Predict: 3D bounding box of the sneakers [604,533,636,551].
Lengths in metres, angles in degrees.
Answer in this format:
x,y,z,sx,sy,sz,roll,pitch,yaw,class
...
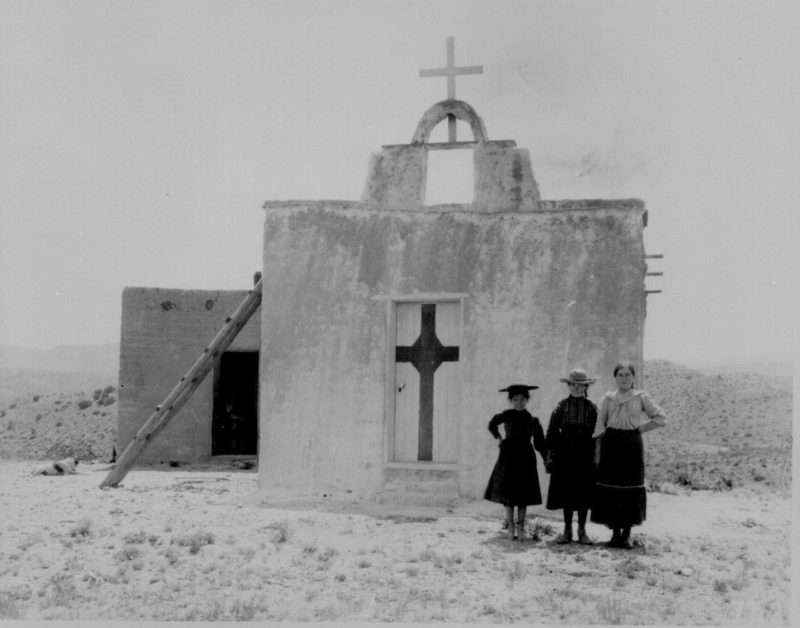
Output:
x,y,z,sx,sy,sz,roll,pitch,yaw,class
2.310,2.380,11.680,0.214,0.081,0.166,-4,-7,44,sneakers

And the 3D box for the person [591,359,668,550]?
x,y,z,sx,sy,sz,roll,pitch,yaw,class
2.336,1.351,11.467,0.657,1.679,0.293,3,-5,10,person

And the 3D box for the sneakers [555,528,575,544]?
x,y,z,sx,sy,sz,roll,pitch,yaw,class
1.761,2.341,11.820,0.195,0.205,0.123,-5,-2,14,sneakers

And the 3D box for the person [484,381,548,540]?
x,y,z,sx,sy,sz,roll,pitch,yaw,class
1.232,1.557,11.858,0.596,1.623,0.447,3,-5,4,person

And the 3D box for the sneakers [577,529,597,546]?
x,y,z,sx,sy,sz,roll,pitch,yaw,class
1.968,2.342,11.748,0.219,0.215,0.104,-1,-3,15,sneakers

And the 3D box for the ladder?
x,y,z,sx,sy,sz,roll,pitch,yaw,class
-2.920,1.011,15.373,0.415,3.043,0.352,35,-10,6,ladder
